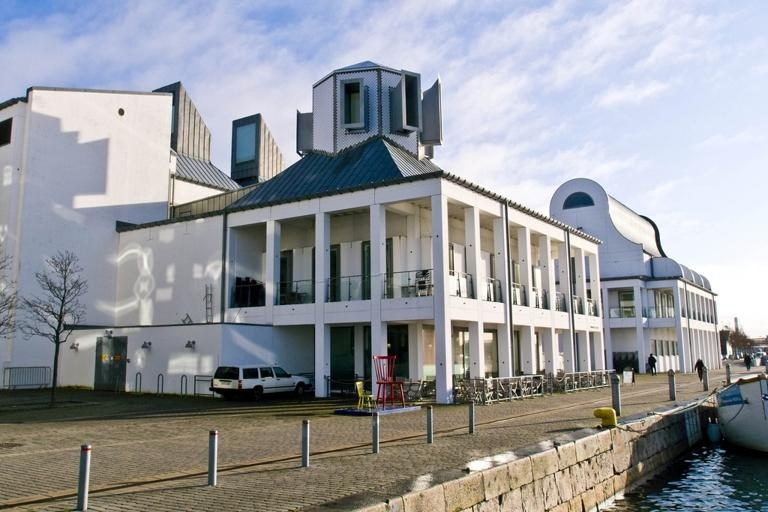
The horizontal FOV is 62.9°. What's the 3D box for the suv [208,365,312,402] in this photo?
[{"bbox_3d":[-6.184,6.337,32.290,1.813,1.348,4.108,-7,-7,40],"label":"suv"}]
